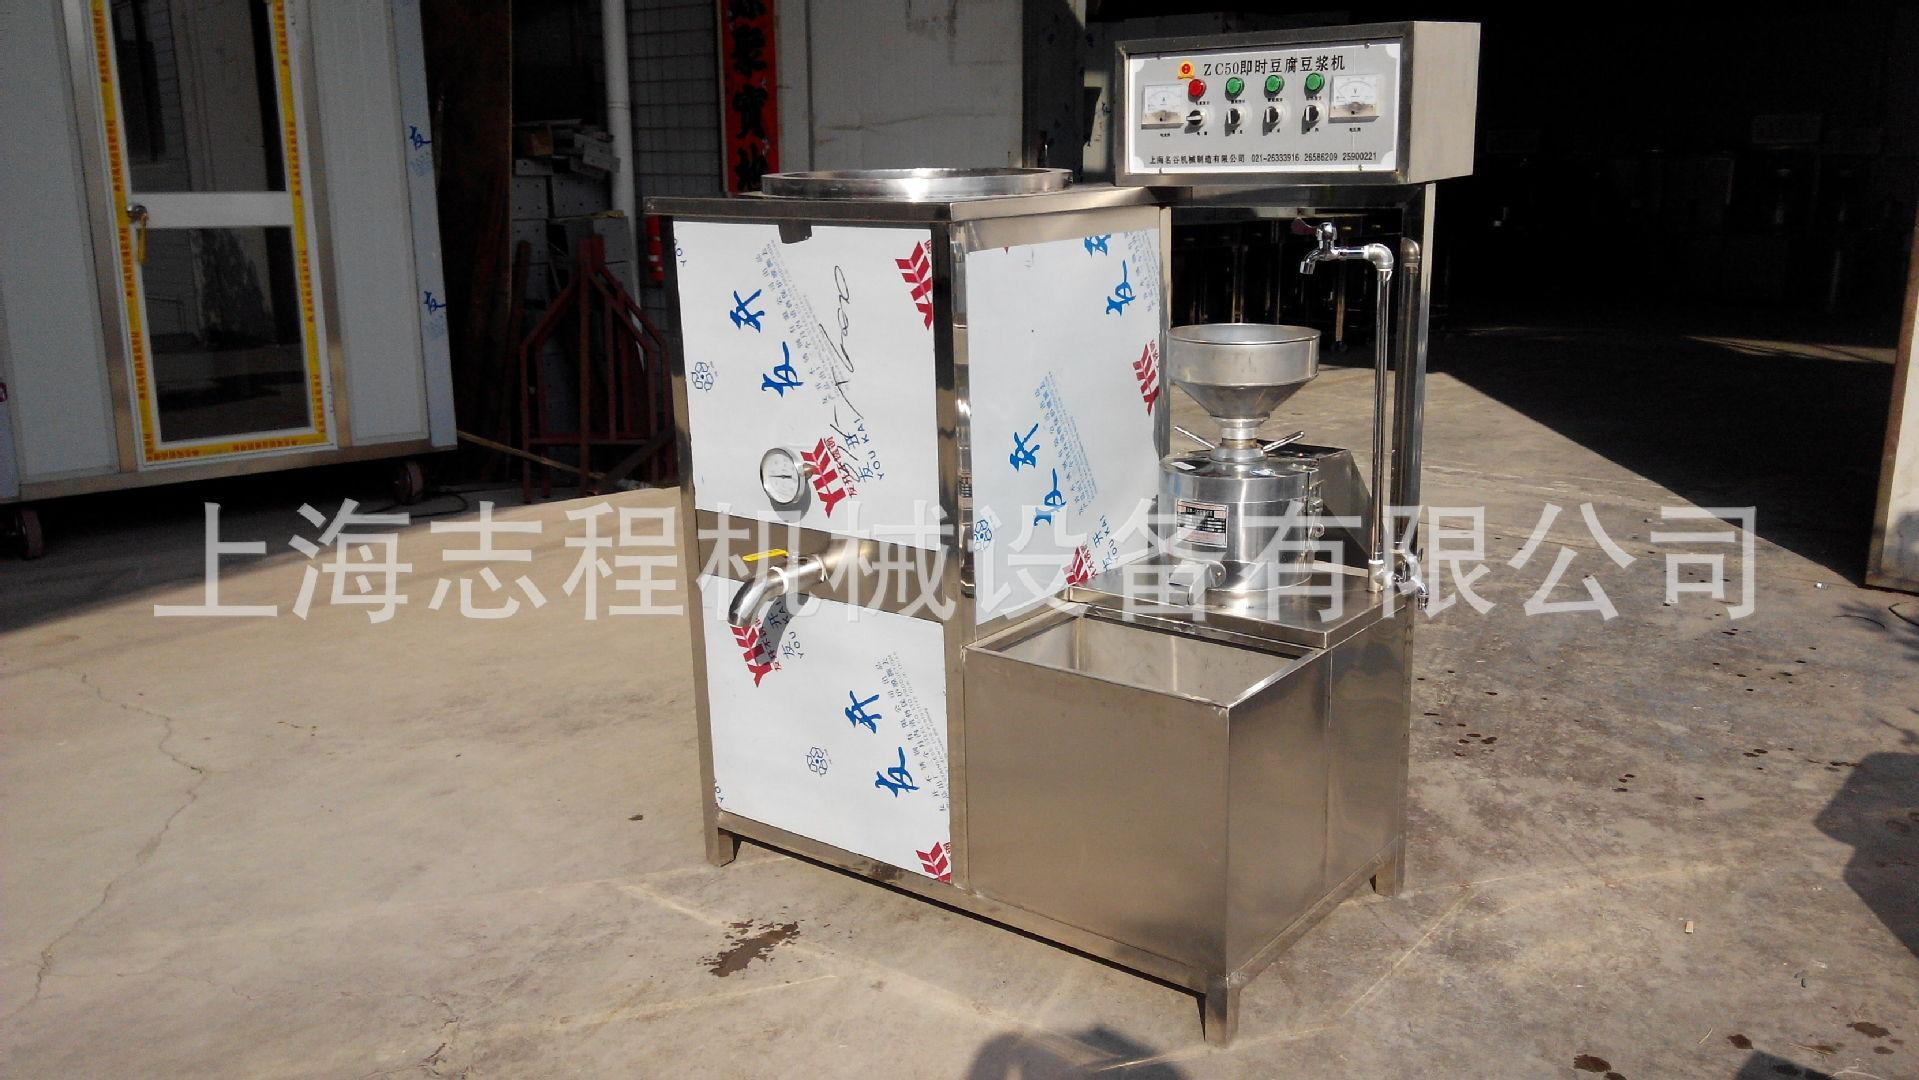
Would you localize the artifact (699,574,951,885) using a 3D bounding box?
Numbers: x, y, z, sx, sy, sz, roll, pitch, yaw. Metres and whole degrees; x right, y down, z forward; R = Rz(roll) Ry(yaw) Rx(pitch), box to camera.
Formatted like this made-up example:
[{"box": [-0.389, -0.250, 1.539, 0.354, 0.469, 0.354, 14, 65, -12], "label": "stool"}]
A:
[{"box": [-0.471, 0.668, 4.632, 1.145, 0.941, 0.381, 8, 16, 32], "label": "artifact"}]

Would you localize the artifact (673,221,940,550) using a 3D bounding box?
[{"box": [-0.400, -0.540, 4.716, 1.554, 1.377, 0.558, 13, 20, 42], "label": "artifact"}]
